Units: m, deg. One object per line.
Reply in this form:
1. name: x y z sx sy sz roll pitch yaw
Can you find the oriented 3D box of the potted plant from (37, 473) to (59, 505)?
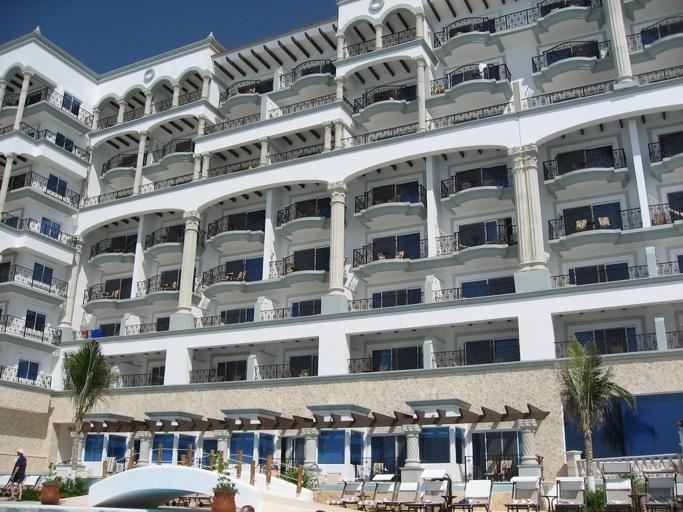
1. potted plant: -12.290 9.980 27.955 1.155 1.071 1.102 5 -25 -21
